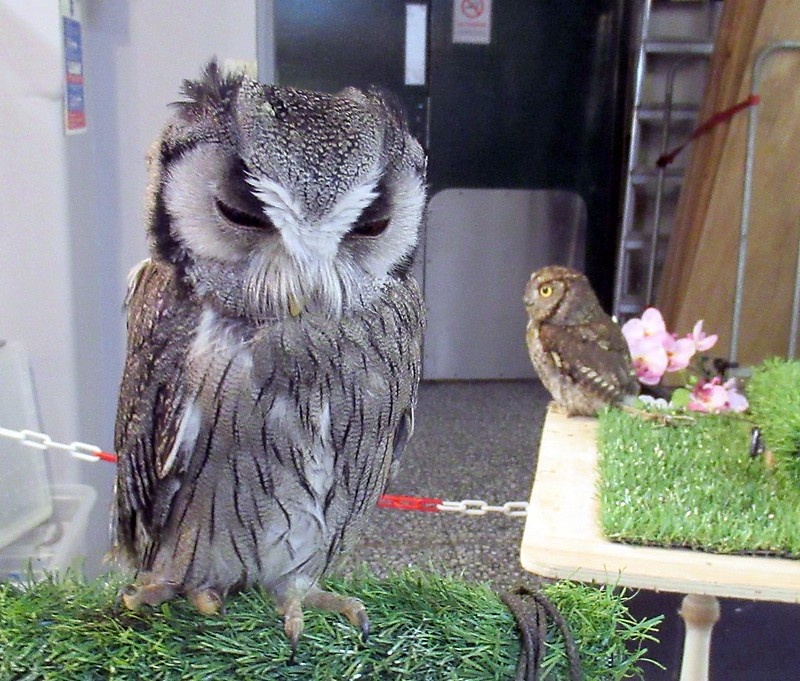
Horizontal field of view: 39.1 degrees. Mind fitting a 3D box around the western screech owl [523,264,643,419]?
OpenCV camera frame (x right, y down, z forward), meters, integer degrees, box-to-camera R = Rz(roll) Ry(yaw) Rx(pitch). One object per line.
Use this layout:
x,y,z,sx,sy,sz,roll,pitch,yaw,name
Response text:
0.393,-0.003,2.467,0.272,0.306,0.220,4,8,7,western screech owl
